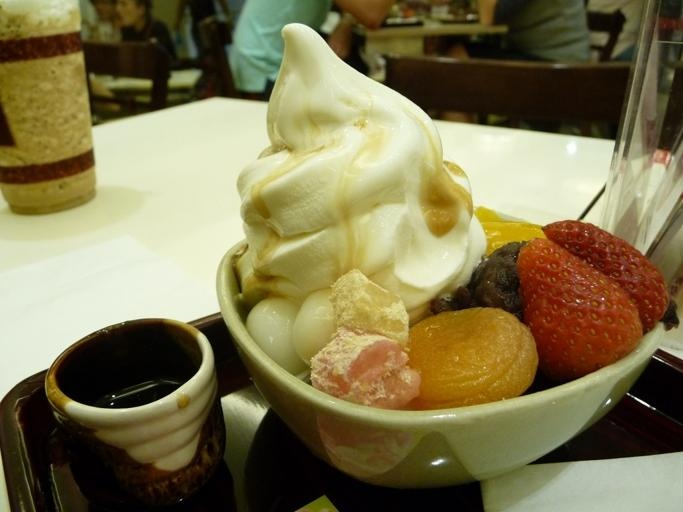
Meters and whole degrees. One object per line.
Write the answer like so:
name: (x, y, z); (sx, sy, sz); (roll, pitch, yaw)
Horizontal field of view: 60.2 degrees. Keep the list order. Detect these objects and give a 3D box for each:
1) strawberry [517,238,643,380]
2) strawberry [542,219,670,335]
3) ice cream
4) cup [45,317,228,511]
strawberry: (0.276, 0.063, 0.689); (0.111, 0.153, 0.073); (-28, -11, 20)
strawberry: (0.305, 0.008, 0.726); (0.052, 0.089, 0.157); (-43, 32, 3)
ice cream: (0.054, -0.060, 0.827); (0.347, 0.431, 0.373); (13, 44, 29)
cup: (-0.231, 0.177, 0.690); (0.183, 0.144, 0.153); (18, 37, 27)
